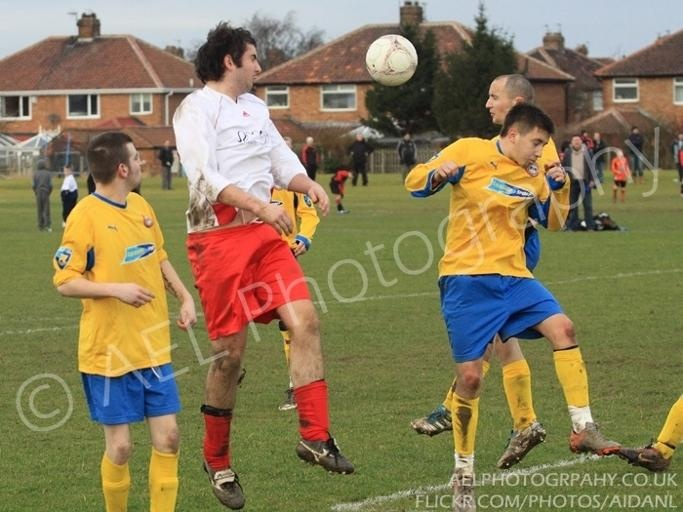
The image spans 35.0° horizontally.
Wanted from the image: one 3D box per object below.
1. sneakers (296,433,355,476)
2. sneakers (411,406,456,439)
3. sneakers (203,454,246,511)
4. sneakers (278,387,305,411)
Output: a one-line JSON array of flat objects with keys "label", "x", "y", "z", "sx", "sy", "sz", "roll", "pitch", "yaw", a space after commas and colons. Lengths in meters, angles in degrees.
[{"label": "sneakers", "x": -0.128, "y": 1.448, "z": 7.972, "sx": 0.494, "sy": 0.257, "sz": 0.197, "roll": 18, "pitch": 10, "yaw": 19}, {"label": "sneakers", "x": 0.768, "y": 1.394, "z": 9.077, "sx": 0.438, "sy": 0.240, "sz": 0.165, "roll": -11, "pitch": -2, "yaw": 0}, {"label": "sneakers", "x": -0.879, "y": 1.709, "z": 8.170, "sx": 0.153, "sy": 0.435, "sz": 0.157, "roll": -22, "pitch": -25, "yaw": -25}, {"label": "sneakers", "x": -0.501, "y": 1.298, "z": 9.980, "sx": 0.145, "sy": 0.143, "sz": 0.416, "roll": -1, "pitch": 12, "yaw": -3}]
